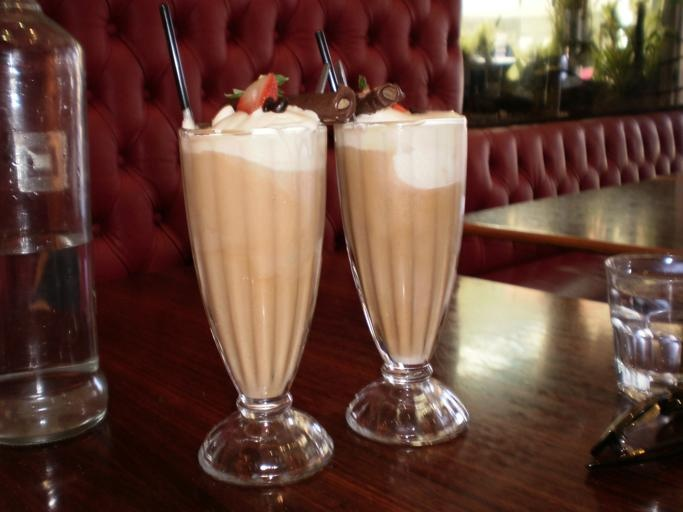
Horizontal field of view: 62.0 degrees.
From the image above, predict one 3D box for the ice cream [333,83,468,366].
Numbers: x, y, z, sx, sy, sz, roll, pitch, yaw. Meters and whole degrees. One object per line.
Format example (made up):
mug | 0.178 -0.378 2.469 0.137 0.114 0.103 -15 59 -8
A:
ice cream | 0.062 -0.013 0.592 0.125 0.257 0.126 -3 10 -9
